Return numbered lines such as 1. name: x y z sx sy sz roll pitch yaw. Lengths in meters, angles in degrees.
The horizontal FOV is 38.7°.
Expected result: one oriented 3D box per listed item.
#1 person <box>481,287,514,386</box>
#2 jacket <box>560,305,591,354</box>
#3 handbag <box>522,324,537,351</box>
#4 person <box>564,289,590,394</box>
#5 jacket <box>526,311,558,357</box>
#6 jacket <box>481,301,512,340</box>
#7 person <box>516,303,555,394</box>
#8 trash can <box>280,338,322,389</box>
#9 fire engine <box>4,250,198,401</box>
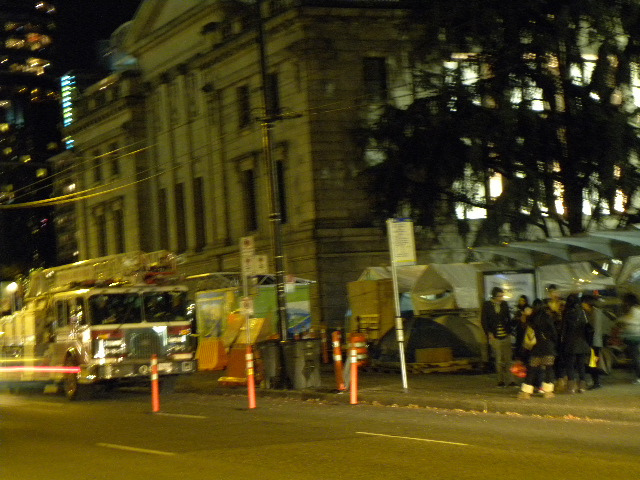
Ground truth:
1. person: 4.412 2.424 22.952 0.729 2.518 0.858 -5 -12 9
2. jacket: 5.918 2.115 21.476 0.591 1.153 0.351 -5 -12 10
3. handbag: 4.819 2.273 21.289 0.122 0.586 0.482 3 -11 -27
4. person: 6.061 2.508 21.921 0.703 2.361 1.420 -6 -11 14
5. jacket: 5.077 2.191 21.134 0.648 1.052 0.390 -6 -12 15
6. jacket: 4.368 2.032 22.966 0.717 0.974 0.358 -4 -11 7
7. person: 4.994 2.573 21.676 0.798 2.186 1.573 -4 -10 2
8. trash can: -0.552 3.404 24.956 1.069 1.343 0.671 -2 -11 -3
9. fire engine: -6.822 2.522 27.059 6.084 3.567 11.059 0 -3 -29
